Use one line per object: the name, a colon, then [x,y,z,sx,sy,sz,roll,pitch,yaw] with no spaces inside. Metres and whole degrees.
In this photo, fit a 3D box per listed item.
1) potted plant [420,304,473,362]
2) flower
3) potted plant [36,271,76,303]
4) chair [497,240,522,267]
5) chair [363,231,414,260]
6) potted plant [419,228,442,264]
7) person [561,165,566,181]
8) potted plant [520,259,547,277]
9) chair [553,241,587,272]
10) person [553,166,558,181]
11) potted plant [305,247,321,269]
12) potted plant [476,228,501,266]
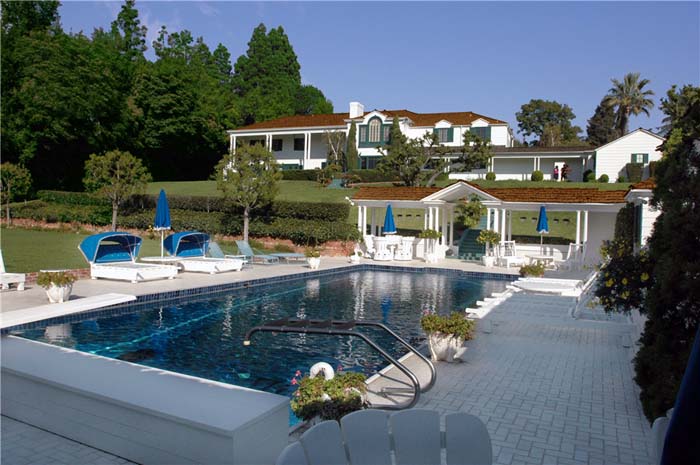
potted plant: [2.292,2.440,13.661,1.269,1.208,1.109,1,-2,1]
flower: [-0.339,3.167,10.902,1.201,0.870,1.235,2,4,30]
potted plant: [-8.950,1.577,17.149,0.969,0.897,0.998,1,3,20]
chair: [8.250,1.132,28.639,1.109,1.724,1.234,0,-2,-1]
chair: [2.127,0.863,30.978,2.211,1.266,1.869,0,4,-15]
potted plant: [4.292,0.766,30.179,1.480,2.305,1.509,1,2,31]
person: [18.438,-5.090,48.899,0.434,1.233,1.476,3,4,20]
potted plant: [7.631,1.612,24.060,0.945,0.684,1.074,-1,4,-1]
chair: [11.139,1.234,28.050,1.544,2.108,1.208,-1,1,-37]
person: [17.807,-5.071,48.866,0.464,1.249,1.019,3,4,20]
potted plant: [-1.613,1.269,26.644,0.870,0.986,0.771,-1,-1,-19]
potted plant: [7.109,0.772,29.031,0.994,1.808,2.569,2,4,15]
